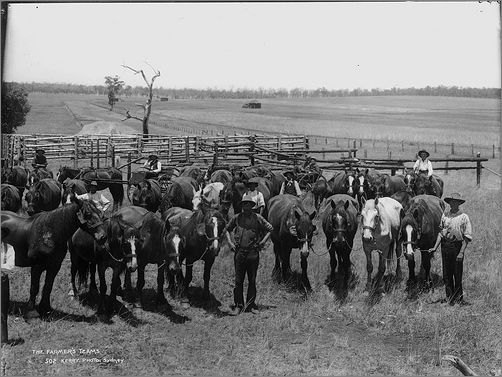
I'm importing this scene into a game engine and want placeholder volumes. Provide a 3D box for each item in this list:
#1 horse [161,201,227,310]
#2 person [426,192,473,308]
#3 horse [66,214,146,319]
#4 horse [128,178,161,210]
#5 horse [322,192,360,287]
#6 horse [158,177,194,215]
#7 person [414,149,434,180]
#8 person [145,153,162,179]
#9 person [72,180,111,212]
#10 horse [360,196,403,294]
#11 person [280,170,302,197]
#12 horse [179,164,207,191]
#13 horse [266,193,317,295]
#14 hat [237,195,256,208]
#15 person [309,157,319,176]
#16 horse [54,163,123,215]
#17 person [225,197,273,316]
[{"bbox_3d":[-1.894,2.015,16.648,0.946,2.943,3.814,-1,-2,-30],"label":"horse"},{"bbox_3d":[5.867,1.769,16.165,0.945,3.303,0.914,3,3,21],"label":"person"},{"bbox_3d":[-4.347,2.016,15.933,1.132,2.897,3.754,0,5,-40],"label":"horse"},{"bbox_3d":[-4.066,0.174,21.267,0.592,1.382,2.097,-1,5,-5],"label":"horse"},{"bbox_3d":[2.781,1.602,17.489,1.127,2.623,3.108,2,3,11],"label":"horse"},{"bbox_3d":[-2.651,0.188,20.494,0.591,1.564,2.212,4,15,2],"label":"horse"},{"bbox_3d":[7.295,-1.006,23.413,0.924,1.680,0.992,0,-3,16],"label":"person"},{"bbox_3d":[-4.136,-0.945,23.169,0.641,1.015,1.248,1,3,-12],"label":"person"},{"bbox_3d":[-5.263,0.182,18.143,0.408,1.036,1.746,-16,32,-35],"label":"person"},{"bbox_3d":[4.124,1.662,17.257,1.114,2.844,2.881,3,3,22],"label":"horse"},{"bbox_3d":[1.576,-0.212,22.367,0.828,1.156,0.443,-2,-11,4],"label":"person"},{"bbox_3d":[-2.340,-0.542,22.716,0.516,1.234,2.071,-4,7,-16],"label":"horse"},{"bbox_3d":[1.206,1.710,17.208,1.127,2.811,3.347,2,3,-7],"label":"horse"},{"bbox_3d":[-0.086,0.364,15.710,0.450,0.349,0.465,2,3,-3],"label":"hat"},{"bbox_3d":[2.925,-1.054,25.574,0.588,0.733,2.094,3,4,6],"label":"person"},{"bbox_3d":[-6.764,-0.059,23.967,3.008,2.371,0.863,-6,25,-32],"label":"horse"},{"bbox_3d":[-0.117,1.868,15.726,1.194,3.353,0.845,2,3,-3],"label":"person"}]
